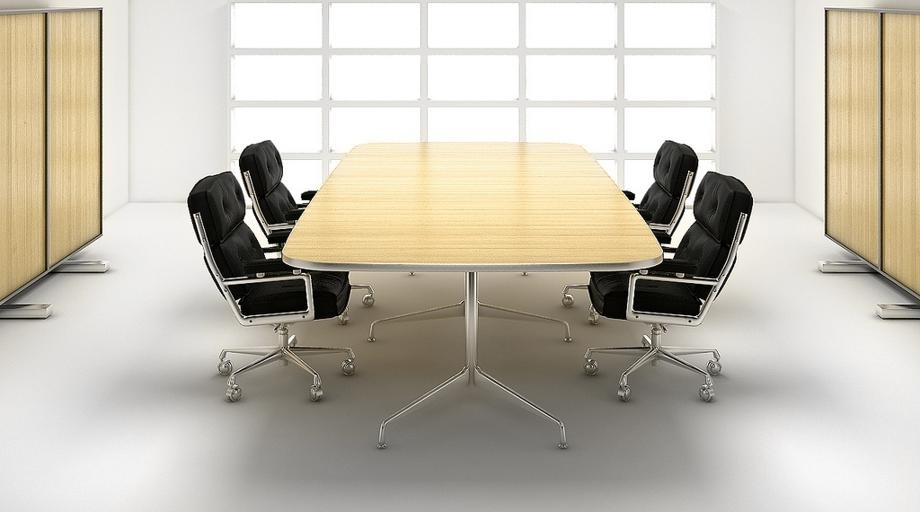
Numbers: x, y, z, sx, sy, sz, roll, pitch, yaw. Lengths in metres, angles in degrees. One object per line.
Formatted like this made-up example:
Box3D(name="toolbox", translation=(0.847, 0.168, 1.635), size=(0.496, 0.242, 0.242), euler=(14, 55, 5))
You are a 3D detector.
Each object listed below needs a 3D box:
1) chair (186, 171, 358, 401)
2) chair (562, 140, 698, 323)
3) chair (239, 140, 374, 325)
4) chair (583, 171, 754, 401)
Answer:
Box3D(name="chair", translation=(-1.337, 0.204, 4.679), size=(1.239, 1.325, 1.227), euler=(7, 10, 24))
Box3D(name="chair", translation=(1.526, -0.283, 5.788), size=(1.121, 1.446, 1.060), euler=(12, 24, 32))
Box3D(name="chair", translation=(-1.423, -0.279, 5.889), size=(1.220, 1.483, 1.159), euler=(12, 23, 20))
Box3D(name="chair", translation=(1.489, 0.194, 4.674), size=(1.240, 1.367, 1.092), euler=(-1, 11, 18))
